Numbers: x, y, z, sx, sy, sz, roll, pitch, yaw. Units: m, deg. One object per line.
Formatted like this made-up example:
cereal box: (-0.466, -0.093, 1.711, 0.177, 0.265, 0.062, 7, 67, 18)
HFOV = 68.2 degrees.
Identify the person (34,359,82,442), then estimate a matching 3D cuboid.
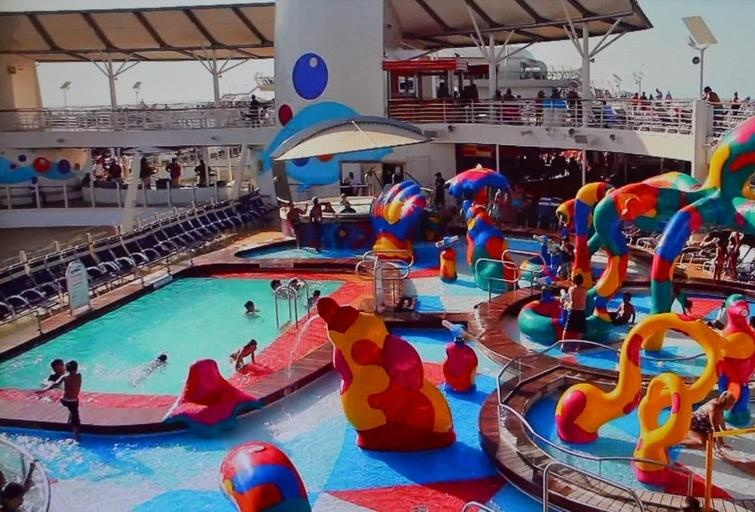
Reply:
person: (-4.945, 2.280, 8.906, 0.725, 1.320, 0.415, 5, 10, 41)

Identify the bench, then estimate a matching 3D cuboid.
bench: (7.962, 0.089, 14.410, 2.684, 1.035, 1.977, -1, 13, 23)

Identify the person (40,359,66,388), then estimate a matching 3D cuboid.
person: (-5.637, 2.090, 9.754, 0.276, 0.814, 0.475, 0, 35, -24)
